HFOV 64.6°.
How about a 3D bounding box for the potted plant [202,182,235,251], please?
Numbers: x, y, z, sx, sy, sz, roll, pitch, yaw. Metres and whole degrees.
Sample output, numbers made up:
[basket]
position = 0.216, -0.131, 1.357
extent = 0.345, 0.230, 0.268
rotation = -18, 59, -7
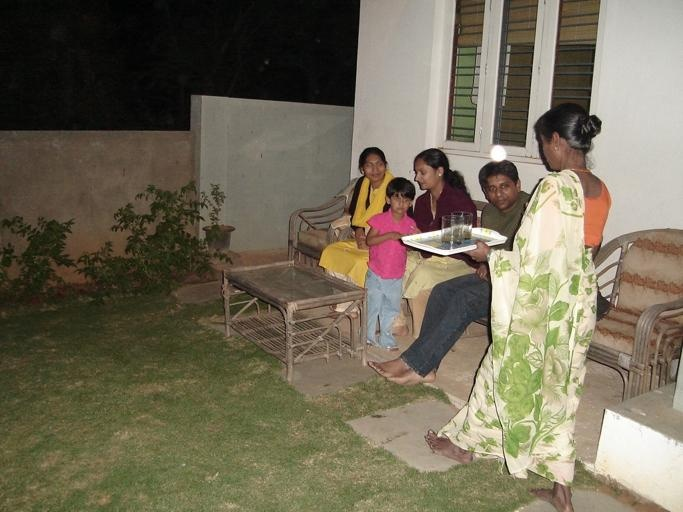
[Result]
[potted plant]
position = -1.524, -0.381, 6.690
extent = 0.408, 0.887, 1.165
rotation = -4, 15, -12

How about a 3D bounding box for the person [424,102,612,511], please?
[person]
position = 1.005, 0.249, 3.029
extent = 0.782, 2.131, 0.679
rotation = 7, 16, 25

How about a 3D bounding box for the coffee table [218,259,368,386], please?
[coffee table]
position = -0.425, 0.458, 4.609
extent = 1.008, 0.652, 1.349
rotation = -8, 16, -27

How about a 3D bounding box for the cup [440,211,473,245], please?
[cup]
position = 0.773, -0.191, 3.663
extent = 0.247, 0.184, 0.151
rotation = -11, 20, -26
